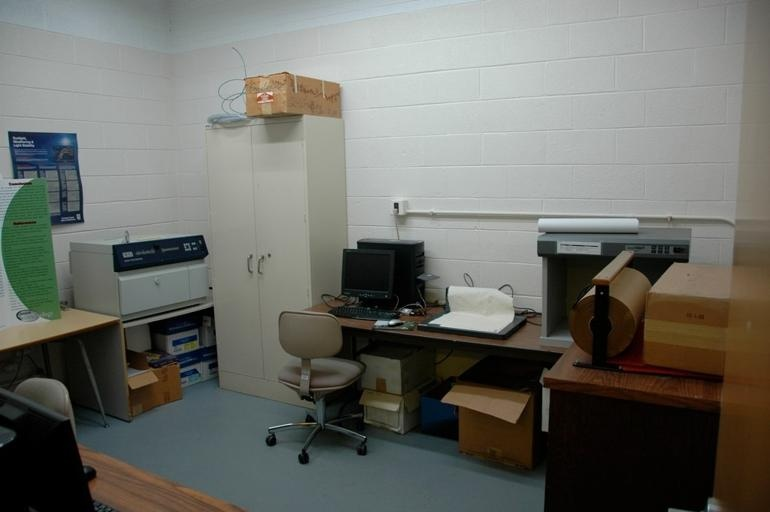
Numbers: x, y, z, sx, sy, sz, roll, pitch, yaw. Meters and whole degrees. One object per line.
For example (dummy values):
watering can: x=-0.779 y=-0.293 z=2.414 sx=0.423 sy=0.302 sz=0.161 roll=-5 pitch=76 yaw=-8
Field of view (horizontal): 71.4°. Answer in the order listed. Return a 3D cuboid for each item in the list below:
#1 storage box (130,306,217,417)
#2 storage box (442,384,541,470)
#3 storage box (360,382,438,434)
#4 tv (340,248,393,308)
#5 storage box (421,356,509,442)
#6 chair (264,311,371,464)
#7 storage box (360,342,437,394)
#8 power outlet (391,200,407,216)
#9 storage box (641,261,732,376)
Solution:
storage box: x=-1.786 y=0.889 z=4.480 sx=0.469 sy=0.558 sz=0.790 roll=3 pitch=9 yaw=28
storage box: x=0.714 y=1.101 z=3.473 sx=0.436 sy=0.414 sz=0.592 roll=3 pitch=7 yaw=30
storage box: x=0.098 y=1.085 z=3.996 sx=0.322 sy=0.187 sz=0.346 roll=3 pitch=6 yaw=37
tv: x=-0.126 y=0.160 z=4.080 sx=0.429 sy=0.437 sz=0.180 roll=2 pitch=-1 yaw=24
storage box: x=0.531 y=0.989 z=4.004 sx=0.521 sy=0.331 sz=0.541 roll=1 pitch=4 yaw=38
chair: x=-0.442 y=0.836 z=3.786 sx=0.701 sy=0.983 sz=0.692 roll=0 pitch=2 yaw=23
storage box: x=0.108 y=0.823 z=4.082 sx=0.380 sy=0.250 sz=0.384 roll=6 pitch=10 yaw=37
power outlet: x=0.117 y=-0.376 z=4.287 sx=0.102 sy=0.133 sz=0.135 roll=-4 pitch=6 yaw=-43
storage box: x=1.168 y=0.262 z=2.091 sx=0.223 sy=0.200 sz=0.446 roll=3 pitch=13 yaw=28
